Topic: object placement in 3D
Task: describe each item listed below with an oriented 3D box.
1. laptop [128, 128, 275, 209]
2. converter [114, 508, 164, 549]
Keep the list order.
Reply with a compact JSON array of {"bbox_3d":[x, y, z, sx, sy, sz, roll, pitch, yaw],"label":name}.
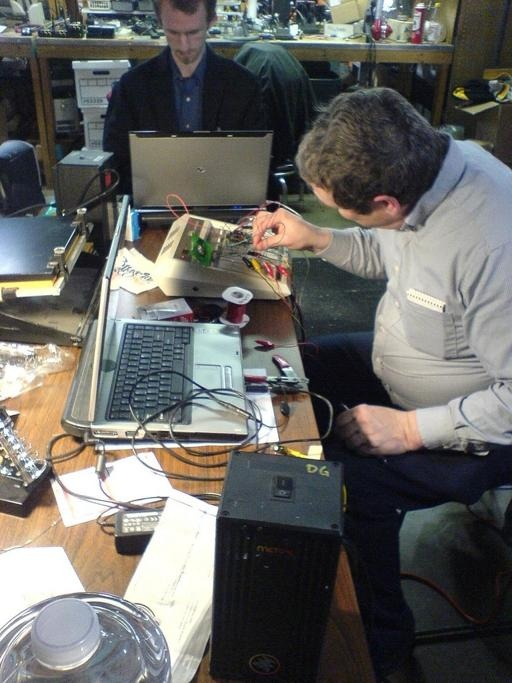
[{"bbox_3d":[-0.186,-0.556,1.776,0.475,0.286,0.284,0,38,-6],"label":"laptop"},{"bbox_3d":[-0.185,0.291,0.849,0.069,0.023,0.080,-3,33,-6],"label":"converter"}]
